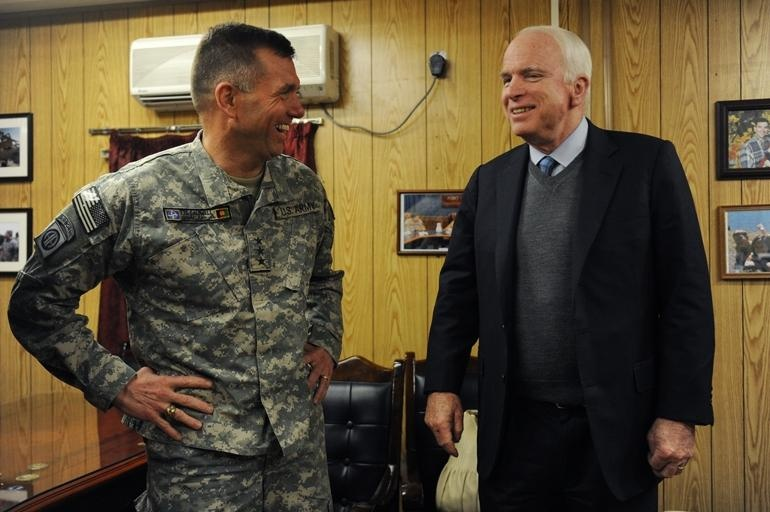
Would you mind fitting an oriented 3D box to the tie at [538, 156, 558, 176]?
[{"bbox_3d":[0.688,-0.381,3.065,0.057,0.090,0.020,2,-5,24],"label":"tie"}]

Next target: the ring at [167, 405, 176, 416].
[{"bbox_3d":[-0.806,0.584,2.752,0.034,0.038,0.009,8,-5,3],"label":"ring"}]
